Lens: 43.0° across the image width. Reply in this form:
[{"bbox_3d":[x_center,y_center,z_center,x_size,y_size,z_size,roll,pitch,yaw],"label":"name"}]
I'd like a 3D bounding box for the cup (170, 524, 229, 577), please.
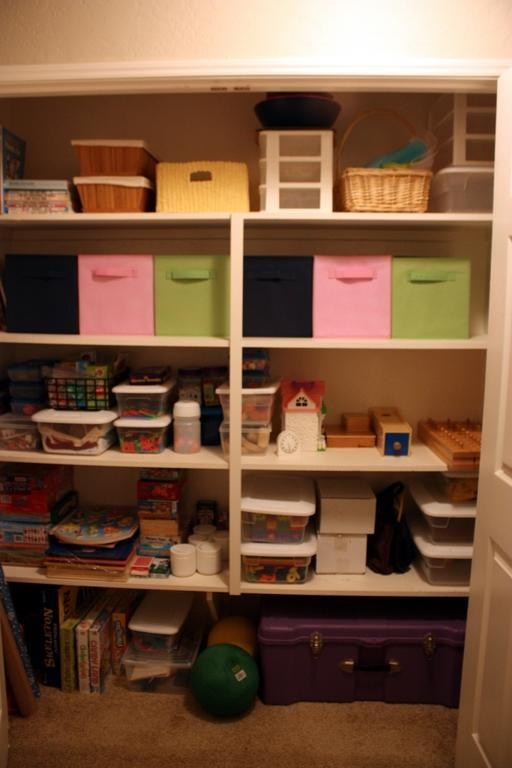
[{"bbox_3d":[-0.198,0.572,2.206,0.137,0.068,0.186,0,2,1],"label":"cup"}]

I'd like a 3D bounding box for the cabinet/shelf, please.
[{"bbox_3d":[-0.047,-0.166,2.094,1.690,1.668,0.517,0,4,-1],"label":"cabinet/shelf"}]

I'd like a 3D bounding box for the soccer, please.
[{"bbox_3d":[-0.100,0.934,2.133,0.149,0.125,0.267,11,-1,3],"label":"soccer"}]

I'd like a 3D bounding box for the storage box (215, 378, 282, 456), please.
[{"bbox_3d":[-0.033,0.118,2.002,0.163,0.159,0.242,0,2,2],"label":"storage box"}]

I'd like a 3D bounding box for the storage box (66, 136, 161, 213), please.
[{"bbox_3d":[-0.450,-0.651,2.048,0.252,0.215,0.251,0,14,-2],"label":"storage box"}]

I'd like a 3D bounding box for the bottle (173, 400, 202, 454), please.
[{"bbox_3d":[-0.232,0.135,2.165,0.094,0.167,0.112,-2,13,-8],"label":"bottle"}]

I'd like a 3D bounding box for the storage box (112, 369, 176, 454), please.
[{"bbox_3d":[-0.347,0.085,2.178,0.216,0.264,0.381,0,10,-1],"label":"storage box"}]

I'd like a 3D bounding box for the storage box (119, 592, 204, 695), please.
[{"bbox_3d":[-0.319,0.896,2.299,0.193,0.139,0.302,4,17,3],"label":"storage box"}]
